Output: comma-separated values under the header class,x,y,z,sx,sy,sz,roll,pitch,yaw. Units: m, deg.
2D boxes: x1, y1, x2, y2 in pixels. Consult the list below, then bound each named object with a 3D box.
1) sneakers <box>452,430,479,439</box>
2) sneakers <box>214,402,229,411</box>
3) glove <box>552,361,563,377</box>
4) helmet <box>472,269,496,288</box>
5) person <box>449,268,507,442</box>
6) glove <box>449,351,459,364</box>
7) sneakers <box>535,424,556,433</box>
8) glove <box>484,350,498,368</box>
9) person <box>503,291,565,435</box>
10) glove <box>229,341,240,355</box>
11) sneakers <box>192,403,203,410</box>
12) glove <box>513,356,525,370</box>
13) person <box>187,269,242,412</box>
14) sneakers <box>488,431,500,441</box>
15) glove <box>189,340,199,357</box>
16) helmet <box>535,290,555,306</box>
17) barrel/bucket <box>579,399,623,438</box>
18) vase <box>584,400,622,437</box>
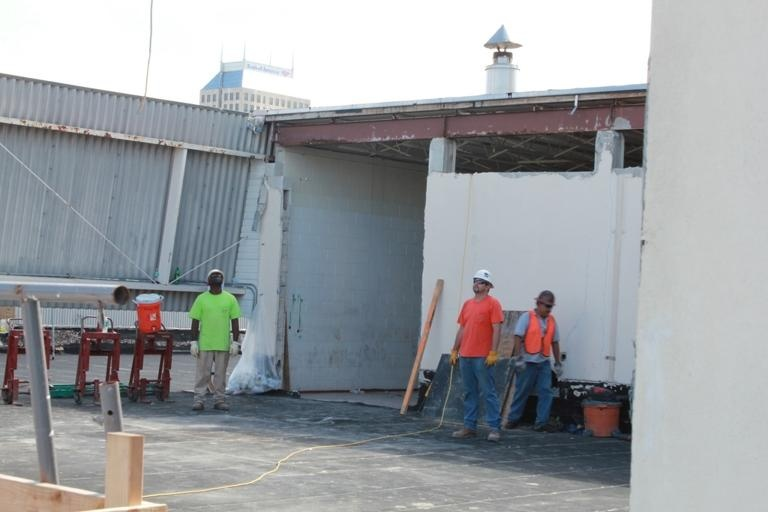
class,x,y,z,sx,sy,sz,roll,pitch,yaw
sneakers,0.887,2.041,12.017,0.279,0.120,0.106,6,-7,-17
sneakers,-2.200,1.961,13.582,0.199,0.085,0.082,-3,-6,18
glove,2.132,1.419,13.127,0.151,0.147,0.122,-1,5,-3
helmet,1.139,0.247,12.429,0.206,0.152,0.273,10,-8,13
person,1.081,1.138,12.262,0.559,1.341,1.061,4,-2,3
glove,0.805,1.258,12.971,0.054,0.149,0.109,9,1,33
sneakers,1.934,2.107,12.830,0.274,0.115,0.100,1,-2,-14
glove,1.184,1.192,12.144,0.168,0.157,0.231,-8,15,26
person,1.856,1.299,13.019,0.665,1.118,0.526,5,-2,-6
glove,-2.018,1.215,13.709,0.160,0.144,0.134,3,9,37
sneakers,-2.491,1.928,13.467,0.137,0.088,0.183,5,-3,-10
glove,1.609,1.322,12.912,0.142,0.142,0.143,1,-11,-9
person,-2.307,1.100,13.609,0.644,1.501,0.373,5,-2,-10
sneakers,1.190,2.024,11.784,0.138,0.071,0.188,4,-3,8
glove,-2.559,1.210,13.604,0.099,0.162,0.311,5,-3,-13
helmet,1.971,0.529,12.913,0.186,0.101,0.194,4,4,43
barrel/bucket,2.560,1.925,12.476,0.417,0.401,0.425,1,0,0
vase,2.561,1.946,12.522,0.431,0.428,0.274,4,-2,10
